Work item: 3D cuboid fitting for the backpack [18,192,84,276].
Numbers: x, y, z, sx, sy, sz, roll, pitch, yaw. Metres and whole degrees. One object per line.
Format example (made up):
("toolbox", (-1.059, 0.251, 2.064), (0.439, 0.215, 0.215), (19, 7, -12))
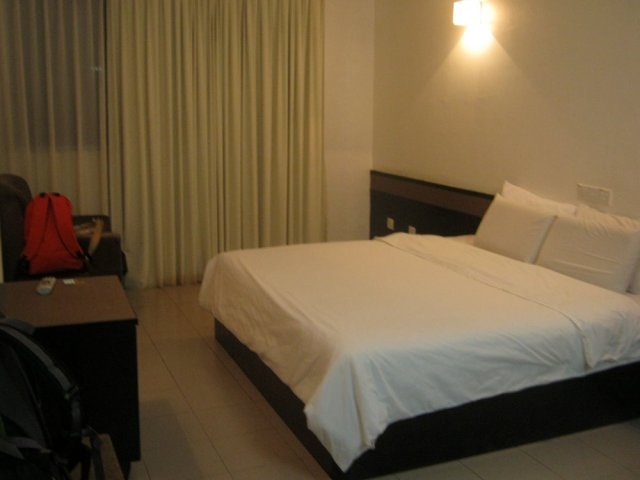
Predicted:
("backpack", (-2.062, -0.030, 3.888), (0.422, 0.609, 0.183), (-1, -12, -22))

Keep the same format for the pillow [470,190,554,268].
("pillow", (1.424, -0.083, 3.772), (0.143, 0.436, 0.541), (24, 6, -22))

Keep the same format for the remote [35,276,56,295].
("remote", (-1.382, 0.220, 2.579), (0.059, 0.039, 0.118), (0, 20, -10))
